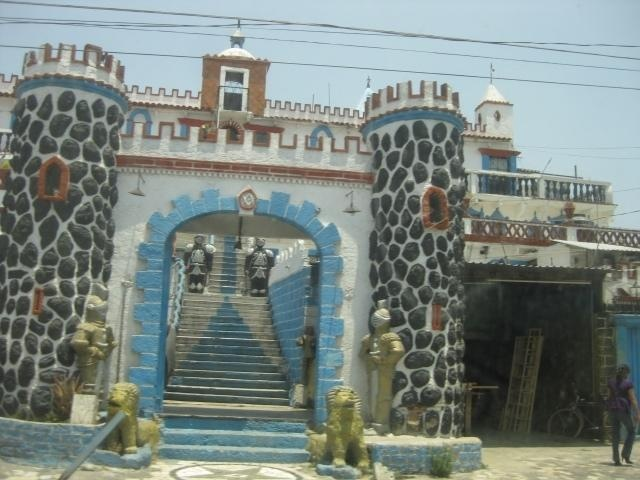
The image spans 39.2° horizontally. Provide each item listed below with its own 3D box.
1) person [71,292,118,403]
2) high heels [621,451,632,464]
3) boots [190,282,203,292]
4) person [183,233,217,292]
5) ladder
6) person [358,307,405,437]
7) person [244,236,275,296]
[{"bbox_3d":[-4.954,2.253,19.707,0.883,2.175,0.377,4,-10,-15],"label":"person"},{"bbox_3d":[6.949,4.957,20.436,0.126,0.149,0.361,-3,-4,-9],"label":"high heels"},{"bbox_3d":[-4.051,1.570,29.858,0.472,0.327,0.138,9,-12,-38],"label":"boots"},{"bbox_3d":[-4.093,0.801,30.532,0.886,2.035,1.387,3,-9,-5],"label":"person"},{"bbox_3d":[5.725,3.943,25.532,1.093,2.892,0.859,-4,-11,31],"label":"ladder"},{"bbox_3d":[1.407,2.838,20.371,0.987,3.004,0.408,-1,-10,14],"label":"person"},{"bbox_3d":[-2.034,0.891,30.525,0.841,2.021,1.154,5,-10,-18],"label":"person"}]
